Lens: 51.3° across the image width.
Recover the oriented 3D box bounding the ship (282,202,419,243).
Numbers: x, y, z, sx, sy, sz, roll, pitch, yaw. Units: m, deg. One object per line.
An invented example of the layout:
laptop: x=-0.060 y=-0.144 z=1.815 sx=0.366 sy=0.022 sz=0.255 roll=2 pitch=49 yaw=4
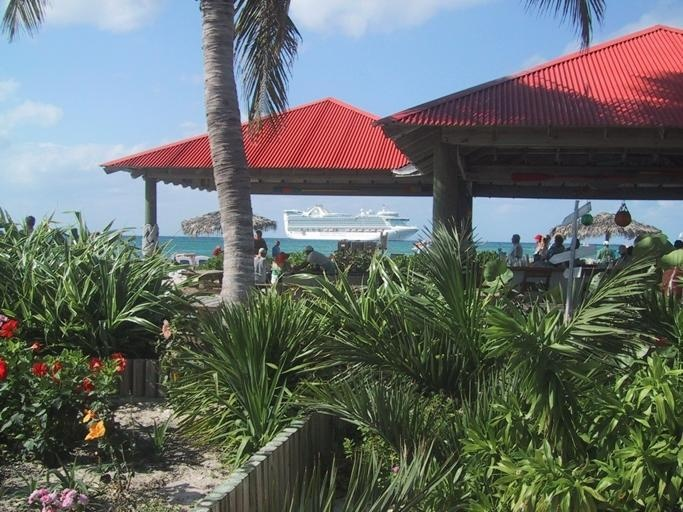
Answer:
ship: x=2.674 y=-5.020 z=107.033 sx=21.928 sy=5.814 sz=21.744 roll=-1 pitch=-1 yaw=-10

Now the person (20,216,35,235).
person: x=-3.788 y=-0.378 z=8.615 sx=0.119 sy=0.294 sz=1.684 roll=0 pitch=-1 yaw=-24
